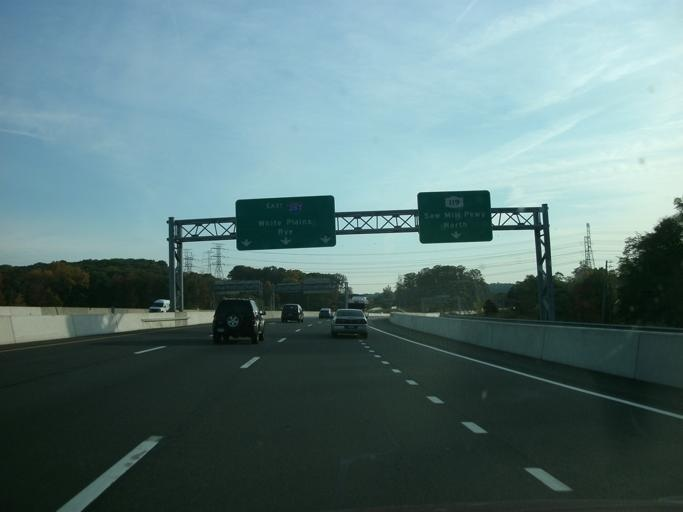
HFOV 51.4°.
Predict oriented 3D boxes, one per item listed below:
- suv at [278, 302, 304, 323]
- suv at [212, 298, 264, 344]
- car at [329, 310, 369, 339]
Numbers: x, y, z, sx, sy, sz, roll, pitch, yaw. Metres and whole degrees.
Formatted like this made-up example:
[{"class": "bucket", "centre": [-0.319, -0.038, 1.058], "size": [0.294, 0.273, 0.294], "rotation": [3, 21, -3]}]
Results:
[{"class": "suv", "centre": [-4.171, 4.882, 60.619], "size": [1.134, 1.128, 2.084], "rotation": [1, 5, 6]}, {"class": "suv", "centre": [-3.810, 2.316, 26.787], "size": [1.216, 1.209, 2.187], "rotation": [0, 2, 5]}, {"class": "car", "centre": [0.331, 3.273, 33.716], "size": [2.018, 1.568, 4.603], "rotation": [0, 0, 0]}]
